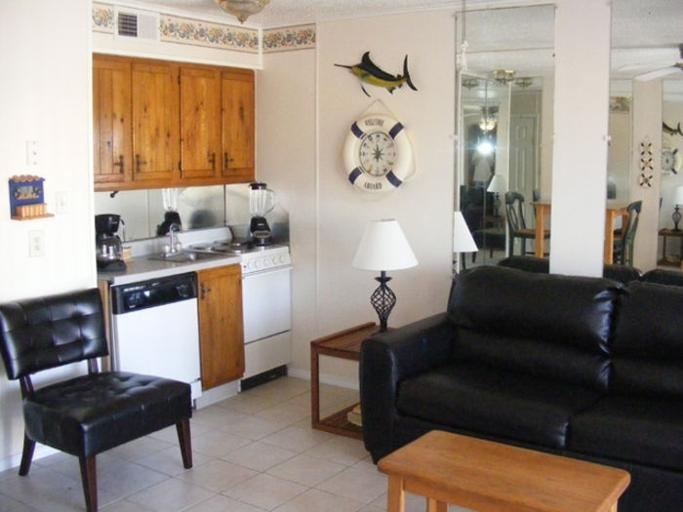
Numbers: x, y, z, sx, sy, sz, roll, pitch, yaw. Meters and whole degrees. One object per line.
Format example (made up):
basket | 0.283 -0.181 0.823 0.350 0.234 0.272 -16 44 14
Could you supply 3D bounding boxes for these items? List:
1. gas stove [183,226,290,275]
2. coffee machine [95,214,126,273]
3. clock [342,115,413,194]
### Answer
gas stove | -0.796 -0.084 5.013 0.627 0.260 0.632 -3 26 -24
coffee machine | -1.695 -0.103 4.099 0.192 0.387 0.253 -4 11 -23
clock | 0.280 -0.801 4.512 0.557 0.602 0.149 -6 2 34
